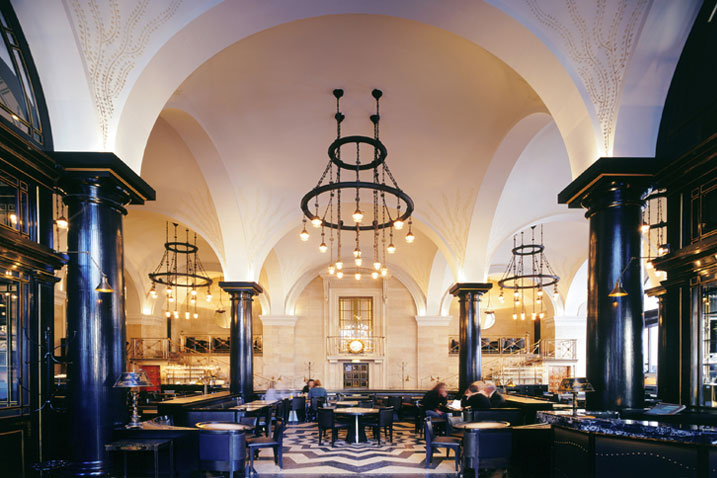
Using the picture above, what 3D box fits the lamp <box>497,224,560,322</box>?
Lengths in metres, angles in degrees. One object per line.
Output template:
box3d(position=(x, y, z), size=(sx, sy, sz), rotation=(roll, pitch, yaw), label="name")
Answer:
box3d(position=(6.054, 0.675, 24.415), size=(1.848, 3.613, 1.824), rotation=(-4, 10, -3), label="lamp")

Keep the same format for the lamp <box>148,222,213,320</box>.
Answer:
box3d(position=(-6.162, 0.177, 24.454), size=(1.860, 4.333, 1.895), rotation=(4, 9, -11), label="lamp")

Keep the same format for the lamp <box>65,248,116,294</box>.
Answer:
box3d(position=(-4.431, 0.523, 11.504), size=(0.795, 0.745, 0.553), rotation=(5, -15, -21), label="lamp")

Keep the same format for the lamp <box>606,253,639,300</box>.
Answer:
box3d(position=(4.393, 0.619, 11.472), size=(0.544, 0.692, 0.465), rotation=(-7, -15, 21), label="lamp")
